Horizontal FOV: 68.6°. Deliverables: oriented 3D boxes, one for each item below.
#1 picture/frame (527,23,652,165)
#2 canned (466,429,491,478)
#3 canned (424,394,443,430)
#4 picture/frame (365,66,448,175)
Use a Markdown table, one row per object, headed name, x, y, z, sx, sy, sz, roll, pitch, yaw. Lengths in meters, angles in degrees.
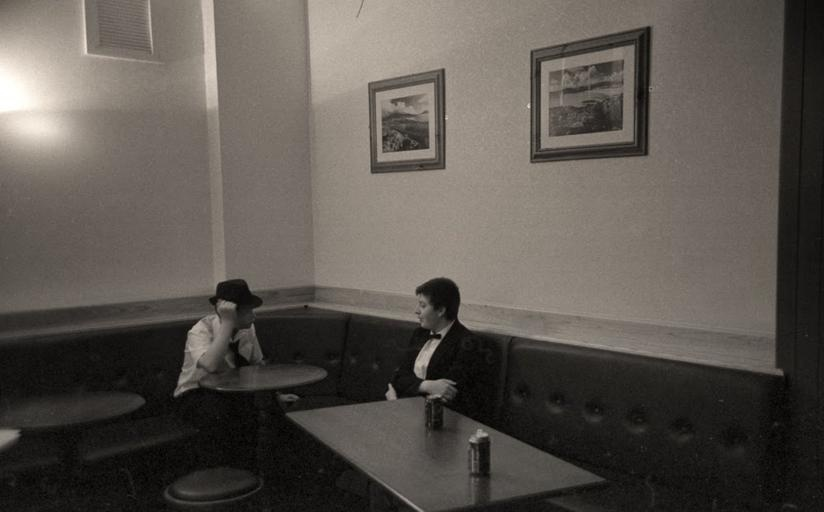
| name | x | y | z | sx | sy | sz | roll | pitch | yaw |
| --- | --- | --- | --- | --- | --- | --- | --- | --- | --- |
| picture/frame | 0.370 | -0.322 | 1.213 | 0.308 | 0.299 | 0.026 | -1 | -1 | 24 |
| canned | 0.133 | 0.402 | 1.226 | 0.052 | 0.078 | 0.047 | 0 | 1 | -19 |
| canned | 0.052 | 0.353 | 1.359 | 0.057 | 0.068 | 0.055 | 6 | -10 | -28 |
| picture/frame | -0.003 | -0.284 | 1.279 | 0.247 | 0.258 | 0.021 | -2 | -4 | 26 |
